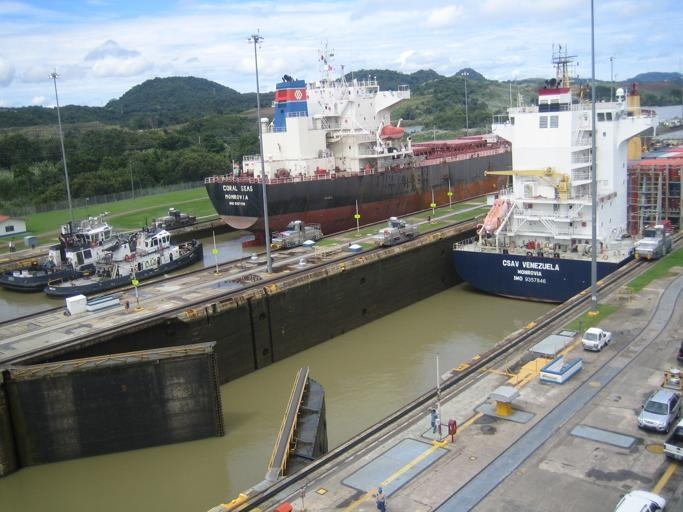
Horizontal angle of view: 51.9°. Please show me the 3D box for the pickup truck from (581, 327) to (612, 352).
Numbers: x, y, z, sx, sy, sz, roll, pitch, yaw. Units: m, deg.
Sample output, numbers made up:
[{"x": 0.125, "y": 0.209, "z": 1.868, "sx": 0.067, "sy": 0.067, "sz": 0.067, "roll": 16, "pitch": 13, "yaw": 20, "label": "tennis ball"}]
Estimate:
[{"x": 13.828, "y": 4.414, "z": 37.942, "sx": 0.906, "sy": 0.831, "sz": 1.677, "roll": 0, "pitch": 6, "yaw": 39, "label": "pickup truck"}]

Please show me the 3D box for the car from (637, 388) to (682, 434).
[{"x": 14.349, "y": 6.999, "z": 31.525, "sx": 2.287, "sy": 1.250, "sz": 1.069, "roll": -15, "pitch": 15, "yaw": -37, "label": "car"}]

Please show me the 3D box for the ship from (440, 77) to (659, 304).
[{"x": 16.561, "y": -5.006, "z": 54.769, "sx": 12.457, "sy": 17.851, "sz": 10.585, "roll": 6, "pitch": 17, "yaw": 30, "label": "ship"}]
